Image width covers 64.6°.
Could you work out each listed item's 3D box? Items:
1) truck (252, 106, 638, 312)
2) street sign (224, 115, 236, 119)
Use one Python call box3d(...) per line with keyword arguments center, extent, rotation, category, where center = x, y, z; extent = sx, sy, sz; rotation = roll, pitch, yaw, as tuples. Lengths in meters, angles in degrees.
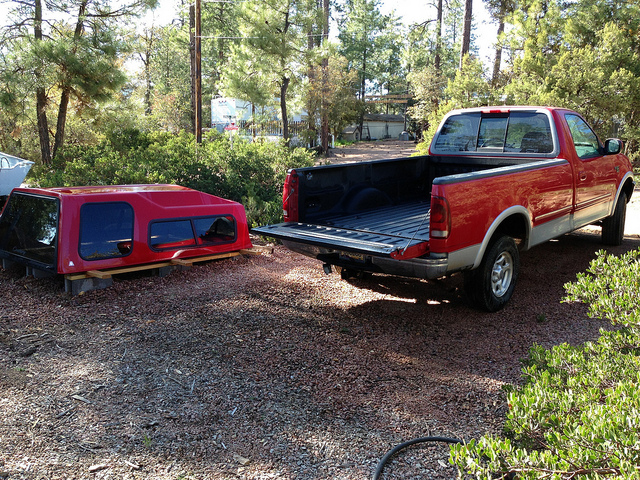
box3d(center=(2.253, -0.538, 7.159), extent=(6.015, 1.869, 2.516), rotation=(-17, 20, -41), category="truck")
box3d(center=(-3.427, -4.676, 19.299), extent=(0.292, 0.151, 0.410), rotation=(-7, 13, -41), category="street sign")
